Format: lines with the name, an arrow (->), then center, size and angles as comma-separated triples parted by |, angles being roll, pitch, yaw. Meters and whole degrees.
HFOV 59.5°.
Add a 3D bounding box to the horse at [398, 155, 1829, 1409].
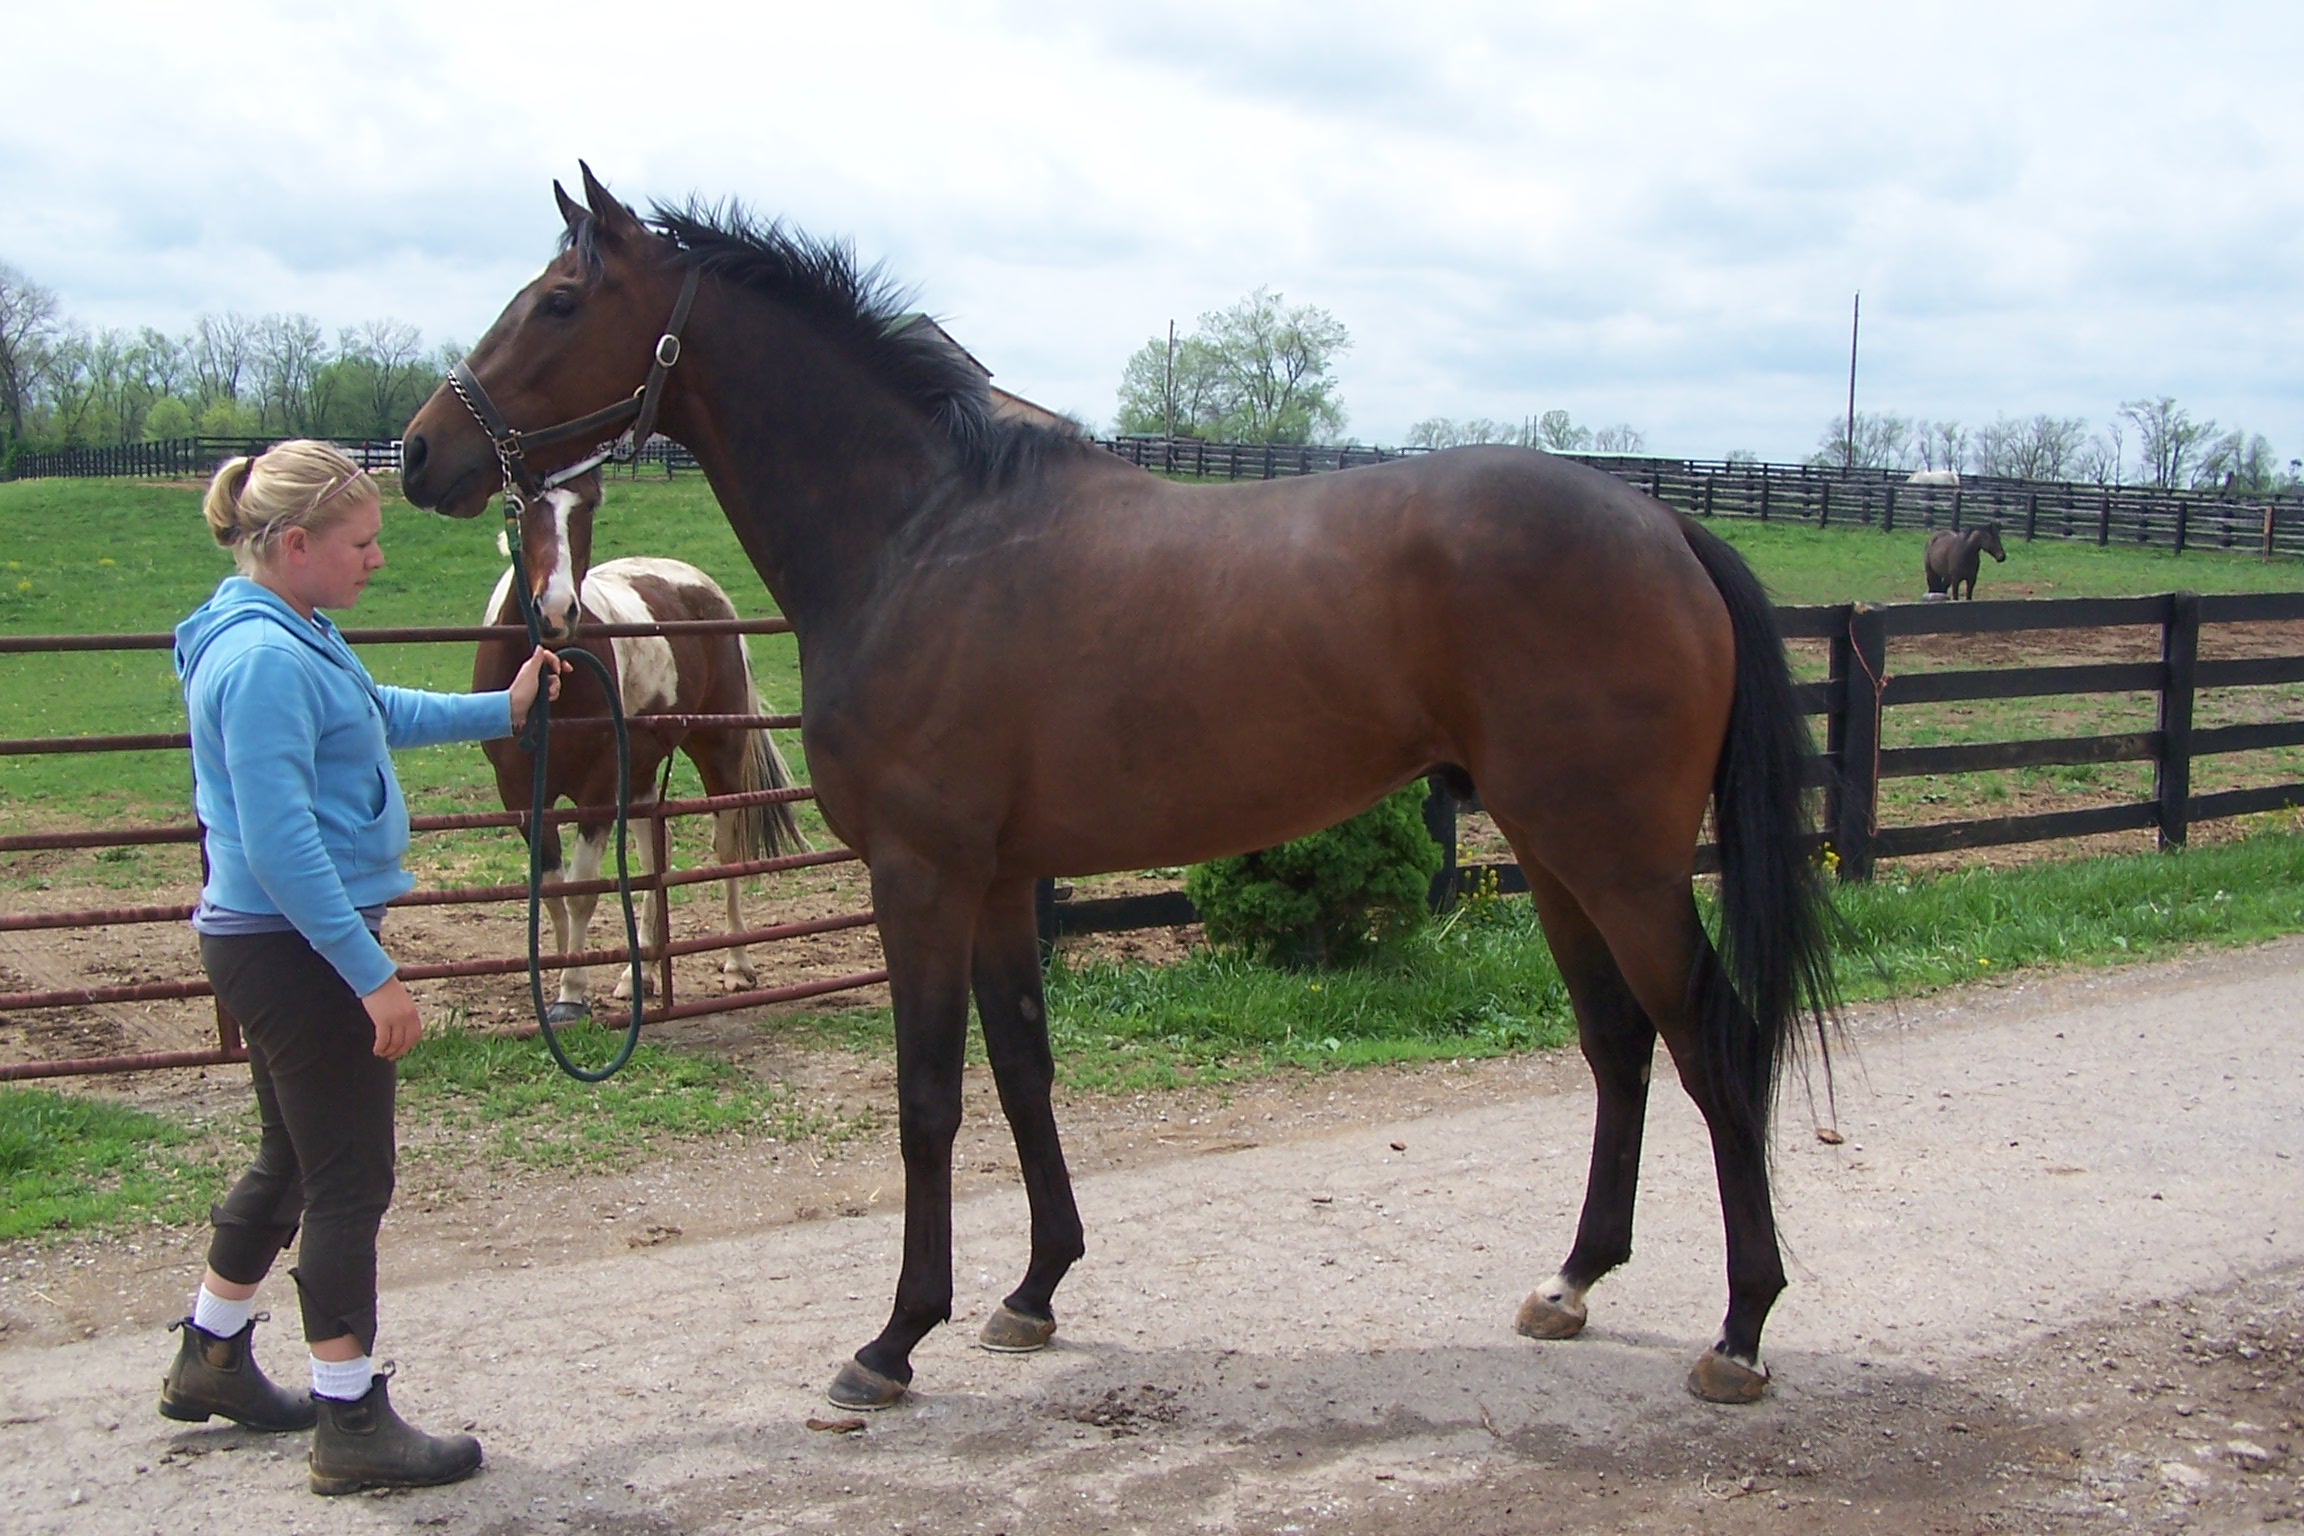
horse -> -0.271, 0.508, 7.103 | 4.463, 3.383, 1.188 | 1, 4, 12
